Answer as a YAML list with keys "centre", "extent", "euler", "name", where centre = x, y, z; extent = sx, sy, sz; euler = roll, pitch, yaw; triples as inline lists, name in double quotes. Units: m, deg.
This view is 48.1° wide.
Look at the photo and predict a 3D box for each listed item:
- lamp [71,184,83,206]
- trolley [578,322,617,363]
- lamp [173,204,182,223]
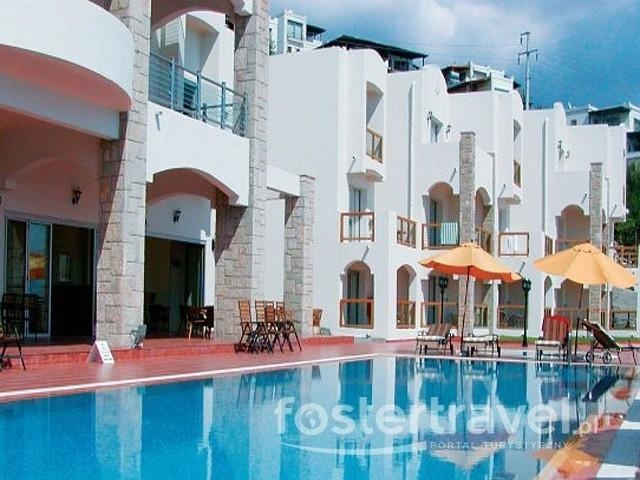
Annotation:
- centre: [-6.830, -1.239, 20.216]
  extent: [0.137, 0.562, 0.394]
  euler: [-4, -7, 31]
  name: "lamp"
- centre: [7.414, 2.738, 18.865]
  extent: [1.123, 0.946, 1.091]
  euler: [10, -10, 26]
  name: "trolley"
- centre: [-4.785, -0.842, 24.253]
  extent: [0.143, 0.541, 0.483]
  euler: [-3, -7, 20]
  name: "lamp"
